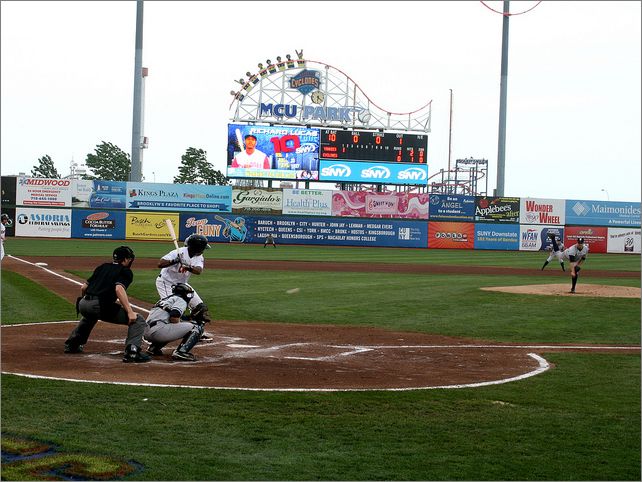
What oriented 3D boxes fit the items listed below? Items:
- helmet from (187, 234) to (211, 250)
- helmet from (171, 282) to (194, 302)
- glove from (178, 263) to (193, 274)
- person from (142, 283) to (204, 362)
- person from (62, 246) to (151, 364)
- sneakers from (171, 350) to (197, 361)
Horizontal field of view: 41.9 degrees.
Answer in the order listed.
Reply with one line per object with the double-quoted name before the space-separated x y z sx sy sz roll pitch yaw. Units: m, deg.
"helmet" -1.986 0.025 13.775 0.431 0.147 0.237 5 18 -10
"helmet" -2.213 0.817 13.465 0.408 0.271 0.255 -9 20 -16
"glove" -2.225 0.466 13.849 0.214 0.190 0.368 1 6 -11
"person" -2.357 1.277 13.583 1.154 0.997 1.152 6 0 -25
"person" -3.235 0.965 13.043 1.411 1.745 0.556 6 8 27
"sneakers" -2.139 1.809 13.095 0.446 0.129 0.135 2 6 1
